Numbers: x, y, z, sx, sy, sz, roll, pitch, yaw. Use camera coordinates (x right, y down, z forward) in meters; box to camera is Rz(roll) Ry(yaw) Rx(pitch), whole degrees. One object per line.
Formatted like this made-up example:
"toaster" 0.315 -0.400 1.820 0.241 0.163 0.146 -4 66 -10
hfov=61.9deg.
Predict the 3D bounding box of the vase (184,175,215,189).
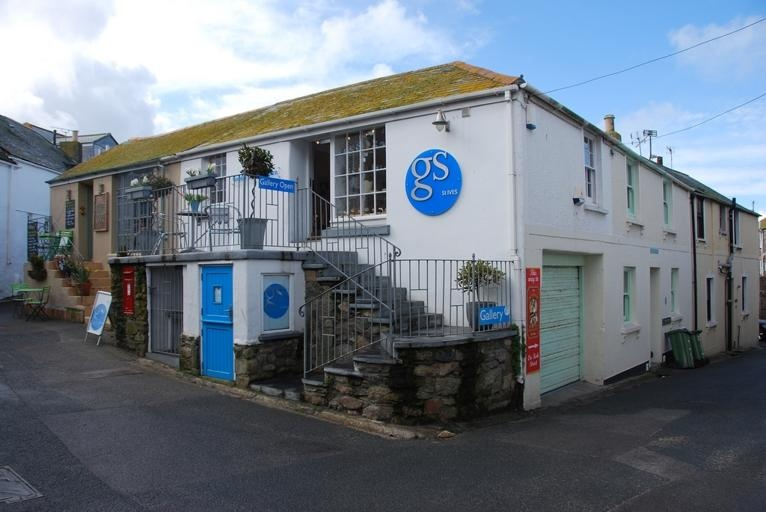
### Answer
"vase" -4.819 -1.954 16.845 0.944 0.384 0.271 6 4 26

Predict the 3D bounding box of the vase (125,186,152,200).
"vase" -7.148 -1.829 18.704 0.686 0.325 0.468 -4 -4 36

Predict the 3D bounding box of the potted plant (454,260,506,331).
"potted plant" 2.299 0.900 15.019 1.089 1.590 0.909 1 -1 -32

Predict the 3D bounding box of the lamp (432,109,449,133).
"lamp" 1.423 -3.303 15.576 0.412 0.476 0.416 5 3 17

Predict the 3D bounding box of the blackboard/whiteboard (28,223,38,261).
"blackboard/whiteboard" -13.659 -0.590 24.926 0.425 1.598 0.139 1 -15 -37

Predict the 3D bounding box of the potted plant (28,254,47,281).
"potted plant" -12.257 0.452 22.616 0.958 0.893 0.324 6 4 32

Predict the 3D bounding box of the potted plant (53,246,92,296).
"potted plant" -10.507 0.502 22.180 0.952 1.204 3.188 -2 10 -40

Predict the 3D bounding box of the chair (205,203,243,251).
"chair" -4.494 -0.872 17.908 0.750 1.036 0.924 0 4 34

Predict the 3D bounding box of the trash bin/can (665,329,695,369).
"trash bin/can" 10.103 3.053 21.374 0.795 1.312 0.871 0 -6 -14

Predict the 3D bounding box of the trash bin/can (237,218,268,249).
"trash bin/can" -3.184 -0.581 16.039 0.675 0.667 0.719 -4 -8 44
